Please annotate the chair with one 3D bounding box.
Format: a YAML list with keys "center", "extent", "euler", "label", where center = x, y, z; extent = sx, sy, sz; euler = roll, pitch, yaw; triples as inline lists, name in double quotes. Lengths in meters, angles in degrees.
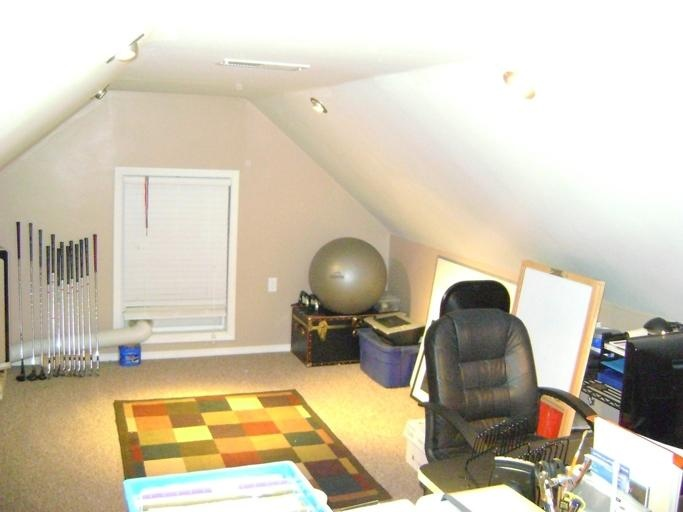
- center: [0.773, 0.623, 3.018]
  extent: [0.721, 0.993, 0.823]
  euler: [-2, 3, -18]
  label: "chair"

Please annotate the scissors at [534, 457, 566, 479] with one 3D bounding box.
- center: [0.613, 0.626, 1.563]
  extent: [0.061, 0.036, 0.088]
  euler: [-1, 3, 2]
  label: "scissors"
